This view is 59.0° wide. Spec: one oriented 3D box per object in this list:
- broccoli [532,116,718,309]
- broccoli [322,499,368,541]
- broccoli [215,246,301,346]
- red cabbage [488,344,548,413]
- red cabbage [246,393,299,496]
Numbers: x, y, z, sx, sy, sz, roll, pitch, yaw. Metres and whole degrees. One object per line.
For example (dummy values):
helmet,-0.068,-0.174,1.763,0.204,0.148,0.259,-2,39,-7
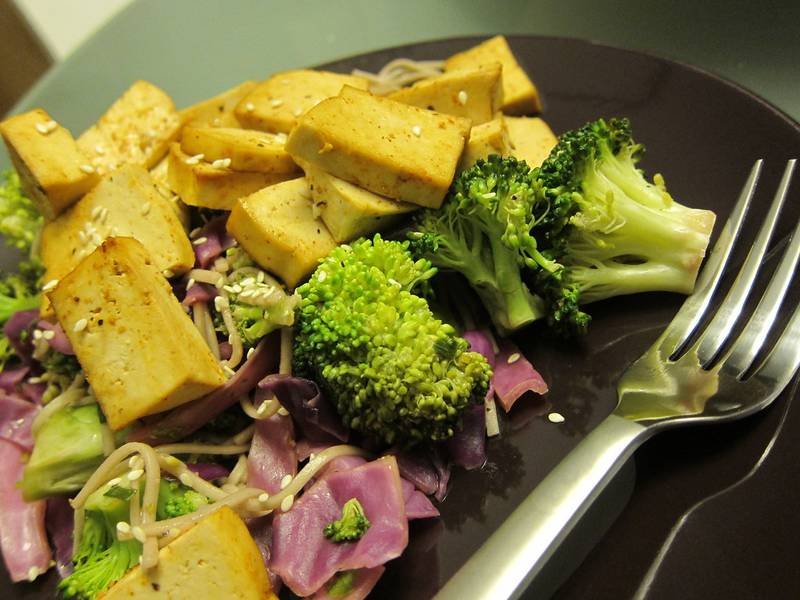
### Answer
broccoli,0.812,-0.310,2.723,0.637,0.496,0.664,28,51,25
broccoli,-0.174,0.744,2.360,0.114,0.045,0.125,-16,42,32
broccoli,-0.528,0.001,2.647,0.241,0.367,0.330,-3,12,-8
red cabbage,0.416,0.286,2.675,0.173,0.092,0.336,-30,22,2
red cabbage,-0.486,0.538,2.674,0.180,0.067,0.579,6,26,-10
